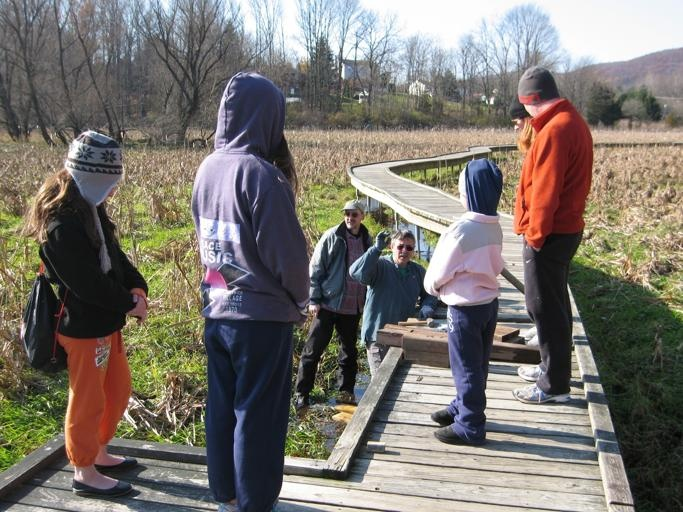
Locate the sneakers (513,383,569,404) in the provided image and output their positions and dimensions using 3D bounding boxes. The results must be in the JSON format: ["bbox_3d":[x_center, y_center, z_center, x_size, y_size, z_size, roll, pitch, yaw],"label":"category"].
[{"bbox_3d":[1.597,1.109,5.232,0.413,0.222,0.184,3,8,7],"label":"sneakers"}]

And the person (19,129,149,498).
[{"bbox_3d":[-1.681,0.359,4.310,0.790,2.311,0.711,-10,15,-35],"label":"person"}]

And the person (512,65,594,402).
[{"bbox_3d":[1.631,-0.141,5.097,0.565,2.611,0.529,3,13,21],"label":"person"}]

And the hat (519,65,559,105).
[{"bbox_3d":[1.538,-1.342,5.177,0.291,0.308,0.310,-8,3,-28],"label":"hat"}]

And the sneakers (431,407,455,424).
[{"bbox_3d":[0.781,1.226,4.988,0.181,0.093,0.088,21,-21,-8],"label":"sneakers"}]

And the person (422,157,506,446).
[{"bbox_3d":[0.922,0.336,4.771,0.559,2.021,0.489,-1,12,1],"label":"person"}]

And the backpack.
[{"bbox_3d":[-1.981,0.381,4.262,0.227,0.613,0.278,5,19,-8],"label":"backpack"}]

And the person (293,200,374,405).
[{"bbox_3d":[0.013,0.513,6.907,0.710,2.263,0.504,5,10,-8],"label":"person"}]

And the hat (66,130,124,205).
[{"bbox_3d":[-1.613,-0.606,4.500,0.333,0.445,0.416,-2,6,-38],"label":"hat"}]

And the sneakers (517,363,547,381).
[{"bbox_3d":[1.623,0.972,5.562,0.198,0.095,0.120,6,15,-21],"label":"sneakers"}]

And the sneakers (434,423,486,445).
[{"bbox_3d":[0.867,1.309,4.771,0.268,0.134,0.176,3,11,8],"label":"sneakers"}]
